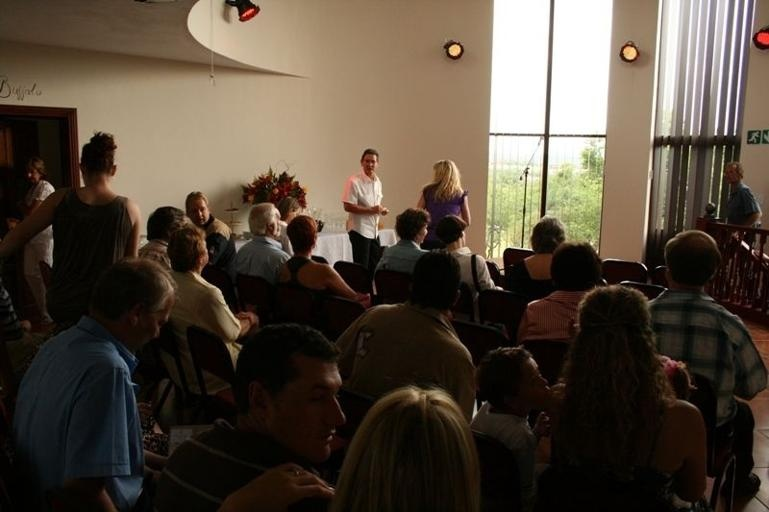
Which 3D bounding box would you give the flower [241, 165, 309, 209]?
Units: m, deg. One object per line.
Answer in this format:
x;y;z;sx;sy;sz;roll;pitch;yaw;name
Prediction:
-1.578;-0.885;7.537;0.553;0.420;0.649;2;-10;19;flower

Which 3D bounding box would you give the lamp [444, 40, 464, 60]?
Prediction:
1.062;-3.166;8.814;0.259;0.304;0.124;0;-3;3;lamp

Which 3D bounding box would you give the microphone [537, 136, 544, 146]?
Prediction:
2.567;-1.899;9.348;0.072;0.124;0.031;12;11;28;microphone

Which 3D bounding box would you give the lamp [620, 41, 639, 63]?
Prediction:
3.749;-3.124;8.740;0.288;0.315;0.110;13;-12;0;lamp
